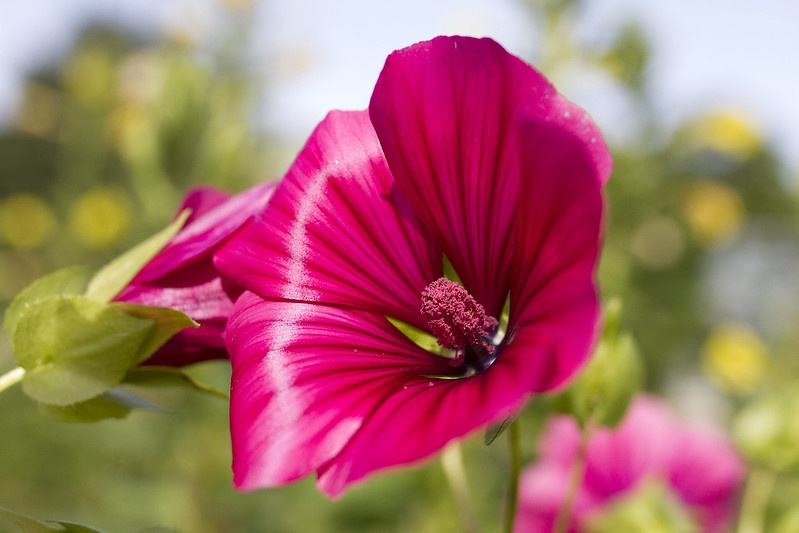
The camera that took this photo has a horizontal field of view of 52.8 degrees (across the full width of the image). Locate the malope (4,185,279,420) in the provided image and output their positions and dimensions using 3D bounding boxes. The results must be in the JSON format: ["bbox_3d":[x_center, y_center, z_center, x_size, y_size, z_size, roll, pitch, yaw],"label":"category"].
[{"bbox_3d":[-0.231,0.052,0.805,0.259,0.106,0.170,-24,63,-30],"label":"malope"}]

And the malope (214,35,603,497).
[{"bbox_3d":[0.013,0.028,0.794,0.382,0.206,0.381,-11,63,34],"label":"malope"}]
